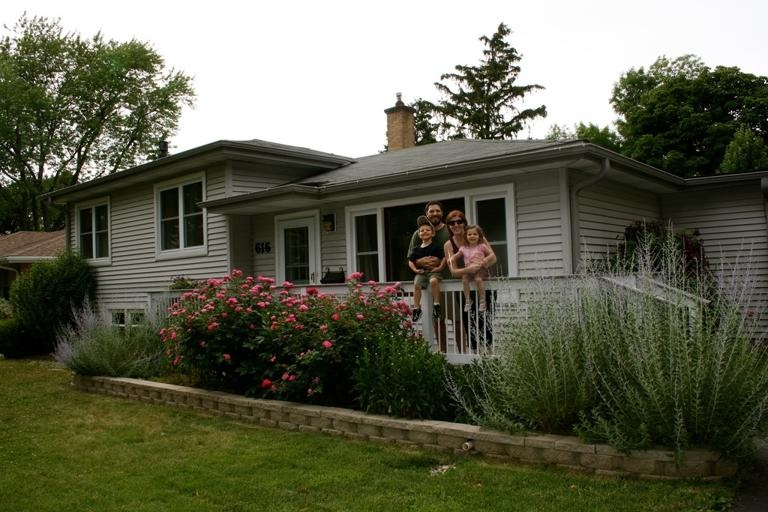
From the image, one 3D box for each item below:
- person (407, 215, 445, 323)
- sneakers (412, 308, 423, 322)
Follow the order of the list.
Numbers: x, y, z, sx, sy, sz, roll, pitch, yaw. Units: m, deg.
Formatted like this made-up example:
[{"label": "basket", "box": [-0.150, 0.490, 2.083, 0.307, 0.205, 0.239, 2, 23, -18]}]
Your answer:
[{"label": "person", "box": [0.778, 0.209, 12.821, 0.632, 1.717, 0.828, -3, 13, 4]}, {"label": "sneakers", "box": [0.588, 1.036, 12.685, 0.163, 0.221, 0.213, -3, 13, 4]}]
